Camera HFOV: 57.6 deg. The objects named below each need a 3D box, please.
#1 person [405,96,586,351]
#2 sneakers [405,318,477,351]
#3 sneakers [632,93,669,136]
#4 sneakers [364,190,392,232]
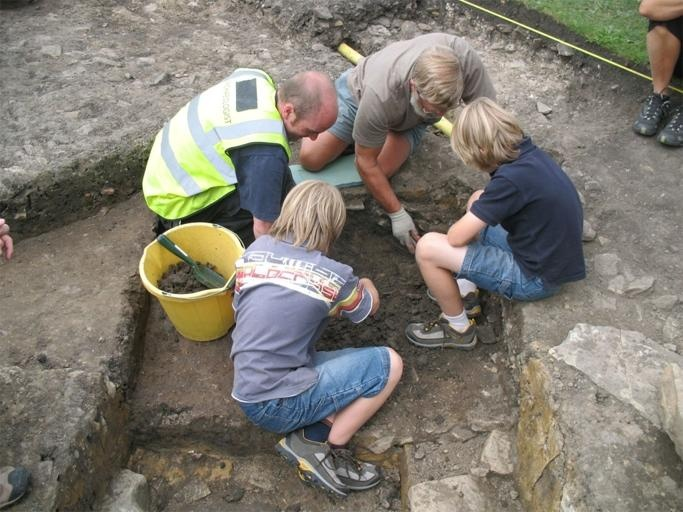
[{"bbox_3d":[0.844,-0.033,3.295,0.843,1.189,0.727,22,52,16],"label":"person"},{"bbox_3d":[0.581,0.454,3.615,0.395,0.196,0.175,4,62,10],"label":"sneakers"},{"bbox_3d":[2.019,-0.910,4.033,0.115,0.138,0.284,33,80,22],"label":"sneakers"},{"bbox_3d":[0.227,-0.279,4.044,0.056,0.171,0.234,-39,95,-17],"label":"sneakers"}]
